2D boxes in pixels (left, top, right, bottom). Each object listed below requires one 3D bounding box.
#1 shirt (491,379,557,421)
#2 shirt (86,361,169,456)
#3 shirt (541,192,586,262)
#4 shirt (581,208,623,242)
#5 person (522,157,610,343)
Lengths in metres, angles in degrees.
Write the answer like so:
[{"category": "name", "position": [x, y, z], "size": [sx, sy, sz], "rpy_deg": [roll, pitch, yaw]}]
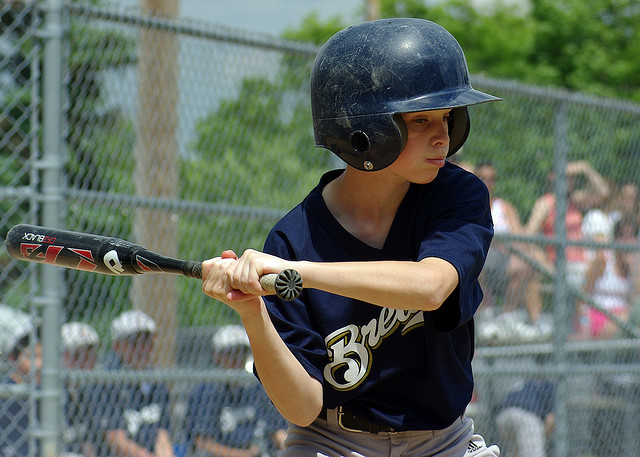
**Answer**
[{"category": "shirt", "position": [1.542, 1.207, 7.947], "size": [0.426, 0.211, 0.627], "rpy_deg": [0, -16, -18]}, {"category": "shirt", "position": [-1.226, 1.120, 6.933], "size": [0.563, 0.661, 0.056], "rpy_deg": [0, 1, -43]}, {"category": "shirt", "position": [1.685, -0.015, 7.801], "size": [0.257, 0.325, 0.384], "rpy_deg": [5, -2, -28]}, {"category": "shirt", "position": [1.960, -0.029, 7.712], "size": [0.230, 0.255, 0.115], "rpy_deg": [11, 3, -7]}, {"category": "person", "position": [1.687, 0.134, 7.812], "size": [0.360, 0.873, 0.622], "rpy_deg": [5, -2, -38]}]
